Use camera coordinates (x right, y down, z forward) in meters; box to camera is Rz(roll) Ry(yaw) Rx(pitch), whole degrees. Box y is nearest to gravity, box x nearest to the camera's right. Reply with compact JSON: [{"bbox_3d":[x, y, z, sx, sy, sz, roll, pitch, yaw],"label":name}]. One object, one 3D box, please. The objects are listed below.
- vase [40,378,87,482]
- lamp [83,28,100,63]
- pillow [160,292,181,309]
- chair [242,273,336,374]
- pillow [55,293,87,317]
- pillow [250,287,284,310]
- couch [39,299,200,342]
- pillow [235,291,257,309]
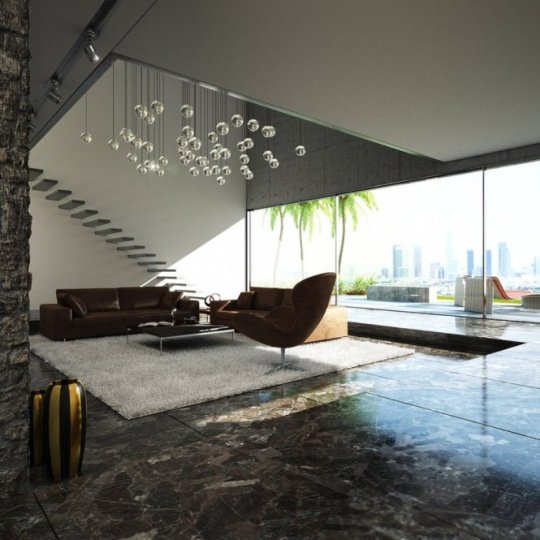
[{"bbox_3d":[-1.107,0.839,2.150,0.230,0.469,0.217,-1,-8,-12],"label":"vase"},{"bbox_3d":[-1.441,-1.830,3.419,0.120,0.278,0.166,2,-20,-7],"label":"lamp"},{"bbox_3d":[-1.705,0.495,7.276,0.324,0.288,0.093,-2,-22,38],"label":"pillow"},{"bbox_3d":[0.181,0.509,4.400,0.991,1.012,0.677,5,3,30],"label":"chair"},{"bbox_3d":[-2.928,0.494,6.257,0.359,0.324,0.626,-2,3,-25],"label":"pillow"},{"bbox_3d":[-0.041,0.446,6.744,0.503,0.331,0.117,-2,-11,44],"label":"pillow"},{"bbox_3d":[-2.275,0.701,6.683,2.123,0.674,0.713,-1,-3,-38],"label":"couch"},{"bbox_3d":[-0.378,0.472,6.861,0.275,0.255,0.098,6,-10,-13],"label":"pillow"}]
